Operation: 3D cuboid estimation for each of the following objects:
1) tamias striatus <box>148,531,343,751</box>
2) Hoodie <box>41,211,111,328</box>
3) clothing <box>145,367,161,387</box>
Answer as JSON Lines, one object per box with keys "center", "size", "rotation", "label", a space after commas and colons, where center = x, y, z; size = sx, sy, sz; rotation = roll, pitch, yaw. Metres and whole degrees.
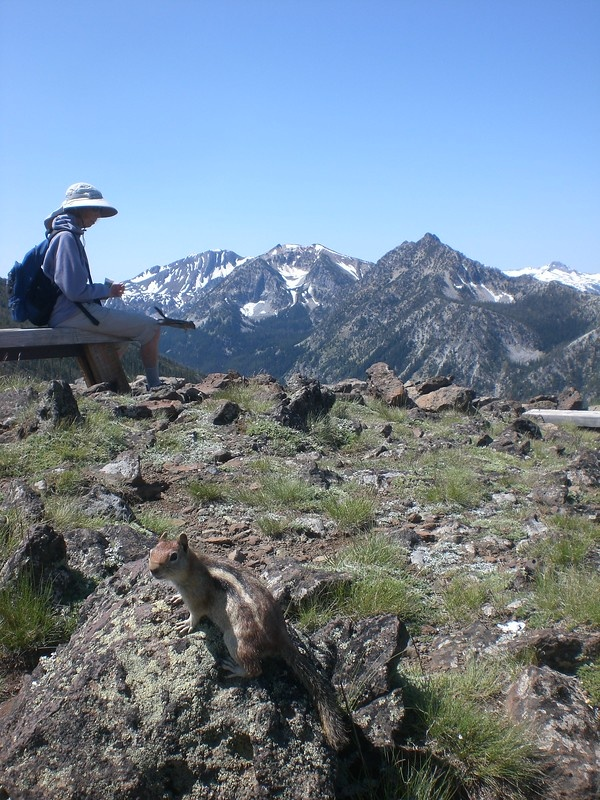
{"center": [-0.307, 1.462, 3.994], "size": [1.295, 0.558, 0.448], "rotation": [37, 36, 14], "label": "tamias striatus"}
{"center": [-3.851, -2.201, 11.474], "size": [1.052, 1.948, 1.046], "rotation": [3, 4, -12], "label": "Hoodie"}
{"center": [-3.236, -0.491, 14.636], "size": [0.347, 0.146, 0.393], "rotation": [-12, -29, -4], "label": "clothing"}
